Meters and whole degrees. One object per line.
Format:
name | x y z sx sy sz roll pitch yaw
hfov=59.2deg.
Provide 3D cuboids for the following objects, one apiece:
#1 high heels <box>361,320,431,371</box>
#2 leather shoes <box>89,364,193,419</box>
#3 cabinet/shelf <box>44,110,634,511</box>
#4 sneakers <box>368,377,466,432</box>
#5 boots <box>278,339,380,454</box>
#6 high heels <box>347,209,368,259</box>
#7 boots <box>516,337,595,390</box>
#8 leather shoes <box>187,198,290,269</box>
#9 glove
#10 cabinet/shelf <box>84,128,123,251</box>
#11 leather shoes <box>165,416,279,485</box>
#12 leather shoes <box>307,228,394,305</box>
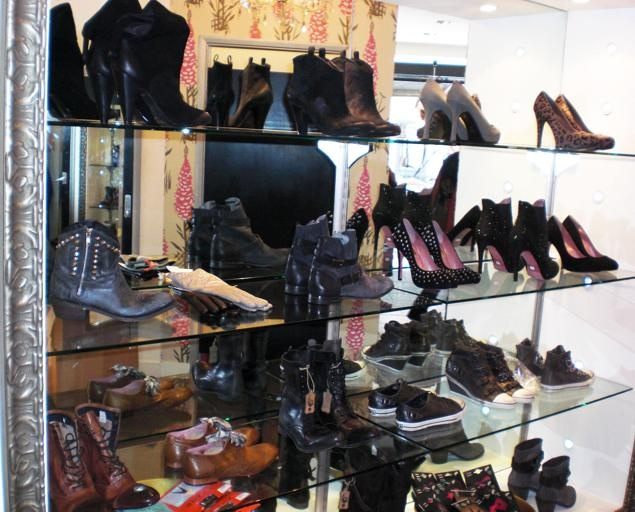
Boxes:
high heels | 0.367 0.391 2.554 0.175 0.167 0.306 -3 2 -21
leather shoes | -0.657 0.504 2.107 0.237 0.092 0.187 4 2 -36
cabinet/shelf | 0.061 0.178 2.180 1.767 1.769 0.576 -2 5 -22
sneakers | 0.385 0.534 2.159 0.257 0.092 0.207 -1 4 -33
boots | 0.044 0.503 1.950 0.356 0.418 0.197 -1 7 -4
high heels | 0.174 -0.123 2.418 0.071 0.093 0.219 3 23 3
boots | 1.125 0.478 2.575 0.470 0.227 0.144 2 8 -37
leather shoes | -0.297 -0.074 2.114 0.376 0.239 0.139 -2 7 -14
glove | -0.302 0.078 1.750 0.232 0.066 0.146 20 6 5
cabinet/shelf | -0.867 -0.264 2.297 0.133 0.531 0.111 4 10 -19
leather shoes | -0.327 0.655 1.921 0.322 0.126 0.204 -3 14 -45
leather shoes | 0.134 0.035 1.927 0.328 0.241 0.135 -5 11 -30
